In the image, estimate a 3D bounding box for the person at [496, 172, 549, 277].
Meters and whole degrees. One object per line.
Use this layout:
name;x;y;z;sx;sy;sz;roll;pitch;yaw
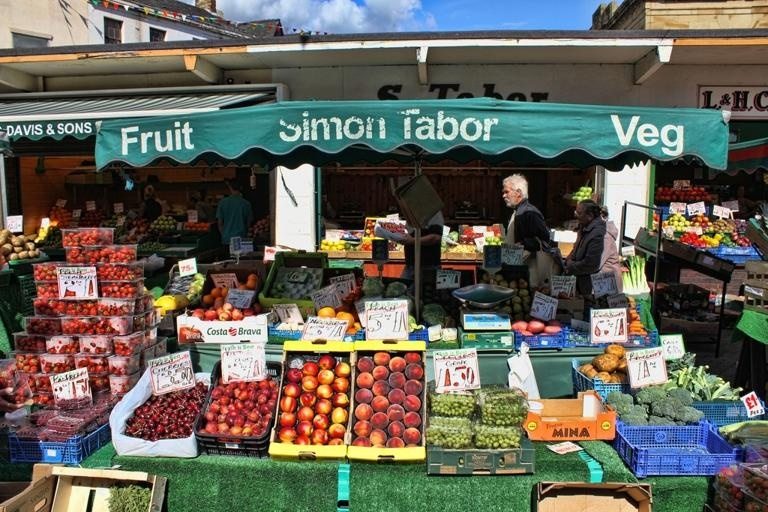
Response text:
person;1.860;-0.354;8.842;0.670;1.324;0.665;4;17;21

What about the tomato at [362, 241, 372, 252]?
tomato;-0.313;-0.164;12.410;0.198;0.192;0.199;1;-5;0

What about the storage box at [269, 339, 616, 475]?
storage box;0.034;1.610;6.915;3.146;1.448;0.471;-1;-30;3

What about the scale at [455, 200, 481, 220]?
scale;1.843;-0.974;14.923;0.453;0.337;0.454;0;18;4

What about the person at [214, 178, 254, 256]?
person;-2.623;-0.467;12.023;0.590;1.750;0.517;1;20;-11

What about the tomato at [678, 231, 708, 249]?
tomato;5.704;-0.279;12.617;0.289;0.092;0.278;-31;35;-33

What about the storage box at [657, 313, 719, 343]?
storage box;4.943;1.199;11.073;0.837;0.241;1.223;-1;4;25

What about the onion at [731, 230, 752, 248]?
onion;6.501;-0.280;12.439;0.242;0.246;0.082;-9;-36;4

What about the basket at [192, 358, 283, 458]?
basket;-1.493;1.563;7.008;0.666;0.246;0.758;0;44;0

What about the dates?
dates;0.924;1.639;6.850;1.021;0.493;0.387;-2;3;2

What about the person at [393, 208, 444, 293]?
person;0.435;0.024;8.596;0.710;1.103;0.492;6;24;15

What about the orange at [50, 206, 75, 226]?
orange;-6.353;-0.755;13.470;0.347;0.467;0.157;-14;-27;-49

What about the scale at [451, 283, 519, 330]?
scale;1.161;0.597;7.983;0.766;0.346;0.786;0;14;1

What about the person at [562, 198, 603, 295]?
person;2.662;-0.108;9.032;0.523;1.257;0.808;-2;3;16

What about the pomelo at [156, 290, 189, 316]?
pomelo;-2.590;0.604;8.360;0.224;0.135;0.287;5;-11;-29

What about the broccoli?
broccoli;2.773;1.569;7.033;0.583;0.176;0.469;-3;28;2

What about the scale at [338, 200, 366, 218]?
scale;-0.735;-1.026;15.098;0.608;0.396;0.522;-2;3;-3

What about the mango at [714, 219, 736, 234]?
mango;6.768;-0.577;13.546;0.286;0.166;0.360;0;2;-16
